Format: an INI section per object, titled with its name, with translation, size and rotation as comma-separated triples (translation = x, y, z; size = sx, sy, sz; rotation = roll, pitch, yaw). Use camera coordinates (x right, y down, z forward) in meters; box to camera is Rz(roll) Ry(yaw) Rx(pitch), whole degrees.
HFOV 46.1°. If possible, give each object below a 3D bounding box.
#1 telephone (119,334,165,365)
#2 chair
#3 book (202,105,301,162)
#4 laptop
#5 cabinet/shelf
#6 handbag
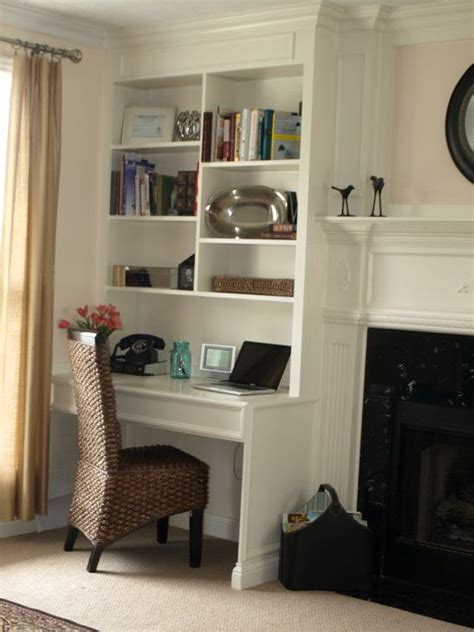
[telephone]
translation = -0.528, 0.177, 3.078
size = 0.240, 0.179, 0.155
rotation = 0, -2, 9
[chair]
translation = -0.477, 0.603, 2.596
size = 0.544, 1.007, 0.491
rotation = 3, -3, -28
[book]
translation = 0.071, -0.867, 2.678
size = 0.338, 0.159, 0.210
rotation = 4, 9, 27
[laptop]
translation = 0.056, 0.223, 2.711
size = 0.274, 0.184, 0.299
rotation = 4, 0, -42
[cabinet/shelf]
translation = -0.128, -0.720, 2.884
size = 1.274, 1.196, 0.343
rotation = 5, 6, 36
[handbag]
translation = 0.368, 0.945, 2.511
size = 0.431, 0.459, 0.359
rotation = 2, 1, -5
